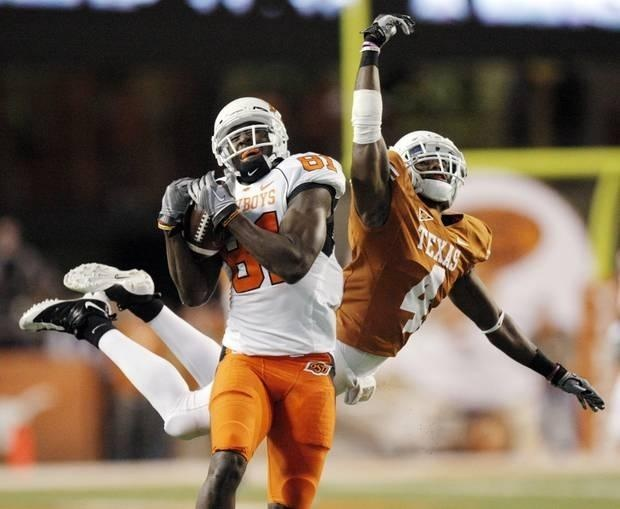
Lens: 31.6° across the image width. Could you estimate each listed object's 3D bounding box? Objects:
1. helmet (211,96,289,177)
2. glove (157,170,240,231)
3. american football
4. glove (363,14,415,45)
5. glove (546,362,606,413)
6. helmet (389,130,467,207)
[{"bbox_3d":[-0.322,-0.622,5.795,0.317,0.431,0.441,-13,-21,5],"label":"helmet"},{"bbox_3d":[-0.584,-0.278,5.728,0.276,0.205,0.366,40,-43,-24],"label":"glove"},{"bbox_3d":[-0.555,-0.190,5.811,0.252,0.386,0.201,2,0,11],"label":"american football"},{"bbox_3d":[0.418,-1.230,6.064,0.201,0.115,0.305,38,34,14],"label":"glove"},{"bbox_3d":[1.750,0.881,7.214,0.463,0.188,0.169,37,-22,2],"label":"glove"},{"bbox_3d":[0.707,-0.526,6.434,0.383,0.395,0.474,8,-2,-12],"label":"helmet"}]
